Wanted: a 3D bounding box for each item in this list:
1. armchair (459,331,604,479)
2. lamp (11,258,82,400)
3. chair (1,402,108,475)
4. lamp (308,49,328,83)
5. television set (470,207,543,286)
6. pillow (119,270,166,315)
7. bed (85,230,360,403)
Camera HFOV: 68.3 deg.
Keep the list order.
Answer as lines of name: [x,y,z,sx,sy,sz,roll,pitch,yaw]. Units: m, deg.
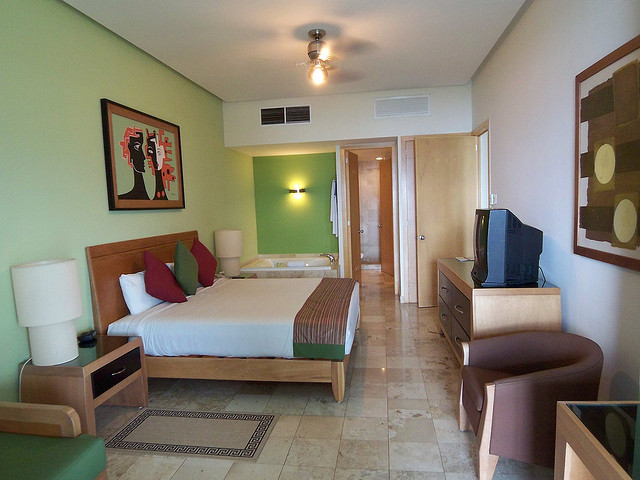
armchair: [1.463,0.972,3.401,0.903,0.960,0.965,0,1,12]
lamp: [-1.992,0.641,3.433,0.482,0.982,0.188,-5,14,-12]
chair: [-1.652,1.209,2.878,0.460,0.352,0.447,0,-3,-8]
lamp: [-0.029,-1.644,4.496,0.251,0.342,0.254,-1,7,-5]
television set: [1.649,0.030,4.201,0.567,0.622,0.624,-1,4,0]
pillow: [-1.634,0.464,4.292,0.128,0.265,0.370,-31,-6,15]
bed: [-0.755,0.591,4.910,2.443,1.388,2.375,-2,4,19]
